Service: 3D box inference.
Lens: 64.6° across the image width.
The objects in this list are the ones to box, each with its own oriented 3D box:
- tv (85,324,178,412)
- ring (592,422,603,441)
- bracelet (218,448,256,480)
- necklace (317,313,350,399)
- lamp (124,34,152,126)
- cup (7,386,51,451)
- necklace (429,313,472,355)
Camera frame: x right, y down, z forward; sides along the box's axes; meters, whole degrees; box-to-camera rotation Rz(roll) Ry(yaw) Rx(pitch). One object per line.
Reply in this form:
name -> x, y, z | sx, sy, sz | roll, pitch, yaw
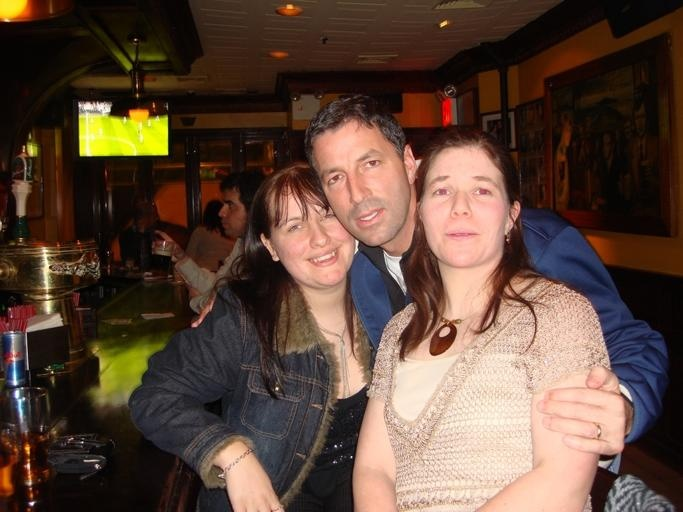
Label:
tv -> -1.185, 0.591, 2.959 | 0.314, 0.105, 0.414 | -19, 28, -9
ring -> 0.818, 0.557, 1.714 | 0.015, 0.047, 0.041 | -1, 2, 6
bracelet -> -0.412, 0.799, 2.080 | 0.181, 0.058, 0.049 | -39, 21, -2
necklace -> -0.039, 0.476, 2.481 | 0.108, 0.075, 0.385 | 12, 35, -12
lamp -> -2.099, -1.820, 5.616 | 0.262, 0.656, 0.990 | -3, 3, -21
cup -> -1.159, 0.592, 1.999 | 0.132, 0.188, 0.132 | -2, 3, 0
necklace -> 0.404, 0.302, 2.030 | 0.110, 0.009, 0.196 | -12, 34, 41
